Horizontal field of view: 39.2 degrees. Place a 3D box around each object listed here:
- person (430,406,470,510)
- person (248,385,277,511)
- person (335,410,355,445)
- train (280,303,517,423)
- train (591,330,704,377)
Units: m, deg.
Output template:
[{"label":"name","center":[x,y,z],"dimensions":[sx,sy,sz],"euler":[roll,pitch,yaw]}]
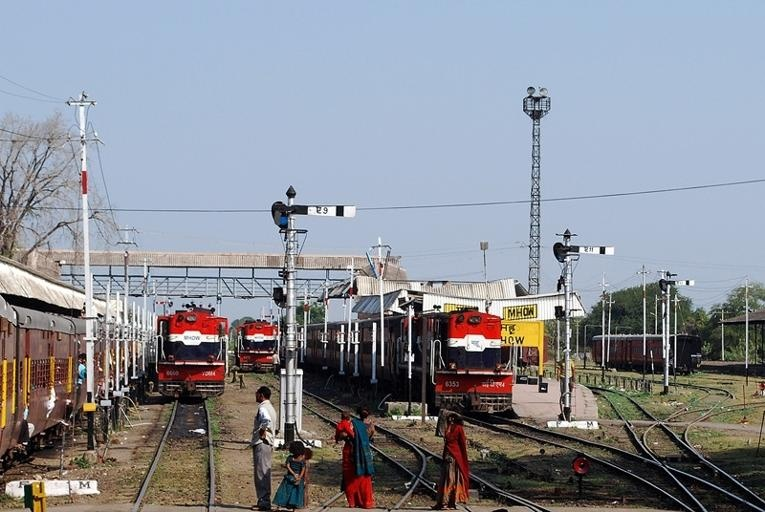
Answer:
[{"label":"person","center":[2.002,5.954,31.165],"dimensions":[0.891,2.769,0.789],"euler":[-1,-5,3]},{"label":"person","center":[-3.395,5.528,30.979],"dimensions":[1.054,3.032,0.848],"euler":[1,0,-25]},{"label":"person","center":[-1.112,4.977,31.207],"dimensions":[0.547,0.861,1.134],"euler":[-1,-6,-4]},{"label":"train","center":[0.785,4.953,54.278],"dimensions":[3.471,3.439,20.887],"euler":[2,-3,-12]},{"label":"train","center":[21.931,8.369,89.580],"dimensions":[6.455,6.237,13.023],"euler":[0,-7,-3]}]
